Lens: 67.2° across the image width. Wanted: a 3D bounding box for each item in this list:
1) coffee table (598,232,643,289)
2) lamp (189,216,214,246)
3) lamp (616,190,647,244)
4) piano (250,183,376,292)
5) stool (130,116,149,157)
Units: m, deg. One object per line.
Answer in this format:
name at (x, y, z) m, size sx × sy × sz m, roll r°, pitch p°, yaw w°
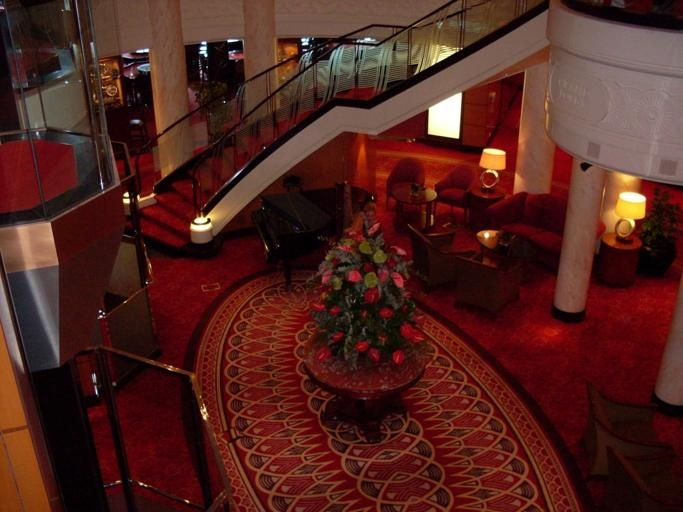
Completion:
coffee table at (5.029, -0.019, 9.573) m, size 0.798 × 0.973 × 0.844 m, roll 5°, pitch 27°, yaw 16°
lamp at (-2.853, -0.559, 10.623) m, size 0.524 × 0.519 × 0.424 m, roll -14°, pitch 26°, yaw -27°
lamp at (5.231, -0.719, 9.367) m, size 0.483 × 0.750 × 0.674 m, roll 12°, pitch 26°, yaw 29°
piano at (-0.489, -0.270, 9.984) m, size 2.240 × 1.236 × 1.797 m, roll -15°, pitch 48°, yaw -22°
stool at (-5.896, -3.663, 15.013) m, size 0.573 × 0.759 × 1.448 m, roll -9°, pitch 25°, yaw -18°
